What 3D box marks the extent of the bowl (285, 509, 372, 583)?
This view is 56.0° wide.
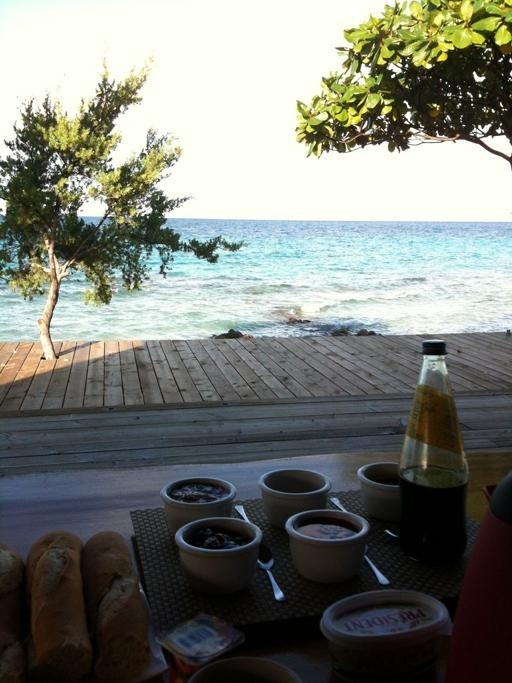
[{"bbox_3d":[0.086,0.238,0.572,0.096,0.053,0.094,-1,2,0],"label":"bowl"}]

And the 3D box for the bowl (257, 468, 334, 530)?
[{"bbox_3d":[0.057,0.227,0.710,0.105,0.057,0.099,1,6,0],"label":"bowl"}]

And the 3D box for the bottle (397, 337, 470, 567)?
[{"bbox_3d":[0.224,0.142,0.604,0.084,0.249,0.066,4,9,24],"label":"bottle"}]

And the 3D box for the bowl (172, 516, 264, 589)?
[{"bbox_3d":[-0.041,0.236,0.549,0.099,0.049,0.092,1,4,0],"label":"bowl"}]

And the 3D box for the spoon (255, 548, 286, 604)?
[{"bbox_3d":[0.018,0.270,0.568,0.020,0.012,0.101,-13,10,-9],"label":"spoon"}]

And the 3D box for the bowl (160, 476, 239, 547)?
[{"bbox_3d":[-0.084,0.236,0.684,0.104,0.062,0.096,2,5,0],"label":"bowl"}]

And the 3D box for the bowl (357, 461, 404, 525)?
[{"bbox_3d":[0.183,0.221,0.733,0.082,0.050,0.076,-1,6,0],"label":"bowl"}]
